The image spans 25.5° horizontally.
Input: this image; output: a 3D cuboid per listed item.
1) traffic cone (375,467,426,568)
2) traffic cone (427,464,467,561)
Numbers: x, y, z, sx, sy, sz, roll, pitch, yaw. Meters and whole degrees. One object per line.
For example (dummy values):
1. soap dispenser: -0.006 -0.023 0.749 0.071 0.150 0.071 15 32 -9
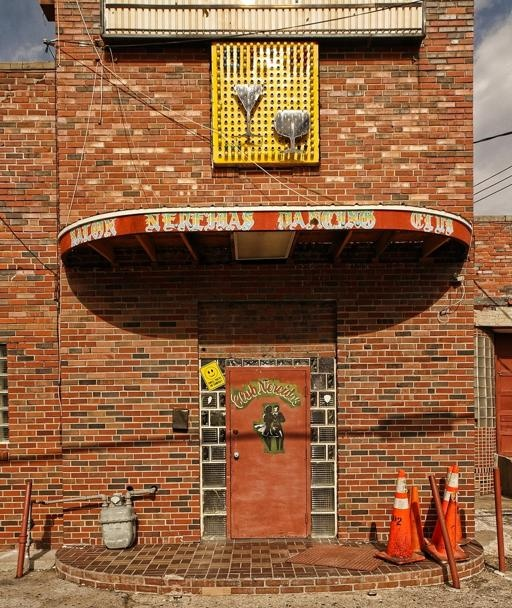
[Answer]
1. traffic cone: 1.763 2.563 14.013 0.591 1.095 0.411 0 -5 -24
2. traffic cone: 2.400 2.597 14.186 0.742 1.143 0.740 4 -12 -8
